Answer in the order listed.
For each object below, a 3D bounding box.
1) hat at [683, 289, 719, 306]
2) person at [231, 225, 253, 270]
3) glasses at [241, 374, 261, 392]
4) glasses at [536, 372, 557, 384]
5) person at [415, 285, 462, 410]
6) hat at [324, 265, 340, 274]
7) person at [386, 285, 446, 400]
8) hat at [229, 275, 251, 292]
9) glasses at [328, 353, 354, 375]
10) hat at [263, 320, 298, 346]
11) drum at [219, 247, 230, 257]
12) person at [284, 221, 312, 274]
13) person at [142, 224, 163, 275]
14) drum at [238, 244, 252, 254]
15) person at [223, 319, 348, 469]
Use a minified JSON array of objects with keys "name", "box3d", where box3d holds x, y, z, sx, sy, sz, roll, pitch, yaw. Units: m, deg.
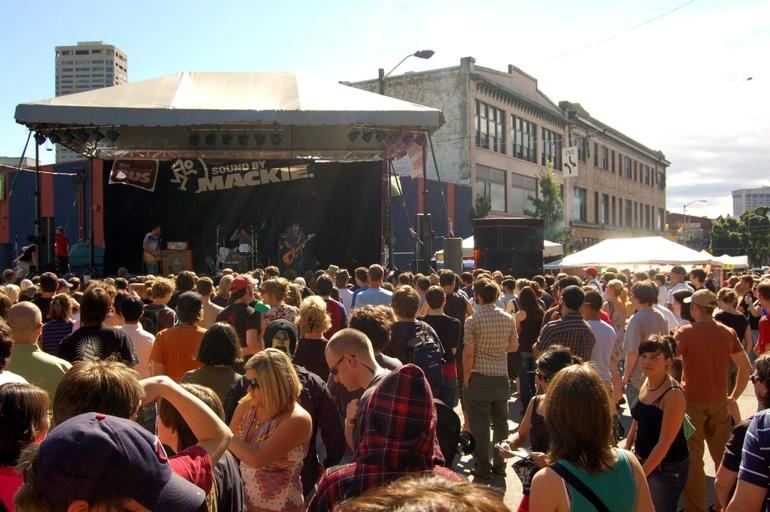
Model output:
[{"name":"hat","box3d":[3.370,0.452,7.900,0.201,0.161,0.272,2,-2,-44]},{"name":"person","box3d":[-3.693,-0.175,19.020,0.560,1.132,0.411,1,-2,24]},{"name":"glasses","box3d":[-1.114,1.105,6.192,0.167,0.201,0.060,4,6,11]},{"name":"glasses","box3d":[1.388,1.059,6.454,0.150,0.110,0.209,0,-2,1]},{"name":"person","box3d":[0.662,1.215,8.970,0.585,1.926,0.499,1,24,12]},{"name":"hat","box3d":[-0.904,0.252,12.611,0.233,0.082,0.252,2,8,9]},{"name":"person","box3d":[0.328,1.075,7.639,0.578,1.390,0.520,-9,9,-1]},{"name":"hat","box3d":[-1.676,0.298,8.615,0.205,0.179,0.364,7,6,10]},{"name":"glasses","box3d":[-0.383,0.832,6.002,0.060,0.209,0.198,31,-18,3]},{"name":"hat","box3d":[-1.083,0.767,7.551,0.211,0.192,0.333,1,26,-8]},{"name":"drum","box3d":[-4.136,-0.092,19.099,0.324,0.238,0.134,2,-2,21]},{"name":"person","box3d":[-2.317,-0.225,19.295,0.758,2.029,0.253,4,-1,4]},{"name":"person","box3d":[-5.715,-0.162,18.128,0.430,1.186,0.937,3,-2,-19]},{"name":"drum","box3d":[-3.603,-0.168,18.927,0.240,0.194,0.235,1,-2,-45]},{"name":"person","box3d":[-0.851,1.242,6.439,0.763,2.014,0.585,-11,-19,22]}]
